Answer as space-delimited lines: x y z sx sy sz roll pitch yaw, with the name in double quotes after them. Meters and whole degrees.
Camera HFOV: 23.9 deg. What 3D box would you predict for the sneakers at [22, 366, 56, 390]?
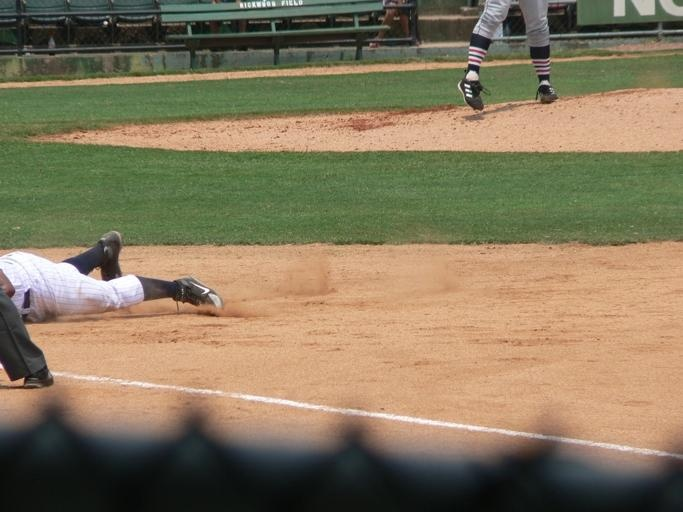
-4.180 1.692 22.304 0.211 0.192 0.453 3 5 16 "sneakers"
